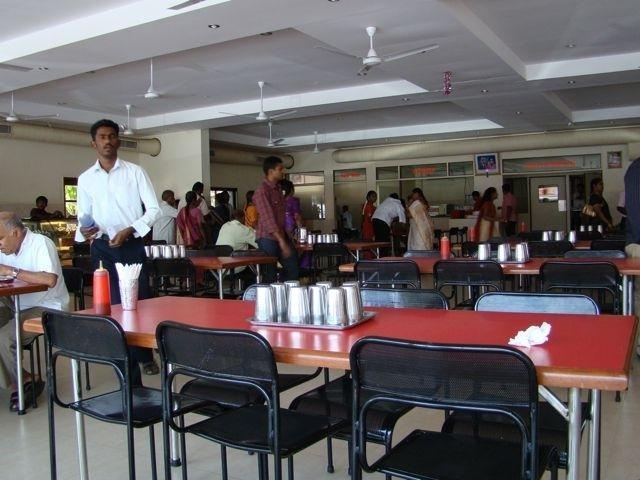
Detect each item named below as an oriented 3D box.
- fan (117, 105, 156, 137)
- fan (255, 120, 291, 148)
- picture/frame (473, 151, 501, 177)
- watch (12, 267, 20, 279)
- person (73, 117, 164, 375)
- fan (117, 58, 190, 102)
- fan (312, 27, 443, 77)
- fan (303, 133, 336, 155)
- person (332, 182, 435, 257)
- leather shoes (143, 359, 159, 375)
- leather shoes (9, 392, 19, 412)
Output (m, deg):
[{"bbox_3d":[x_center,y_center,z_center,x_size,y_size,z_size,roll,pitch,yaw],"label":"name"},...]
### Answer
[{"bbox_3d":[-3.697,-2.349,10.227,0.563,0.599,0.566,1,12,3],"label":"fan"},{"bbox_3d":[-1.016,-2.455,12.319,0.767,0.754,0.754,0,13,12],"label":"fan"},{"bbox_3d":[4.289,-1.965,13.261,0.566,0.524,0.198,3,10,30],"label":"picture/frame"},{"bbox_3d":[-2.061,0.220,3.514,0.038,0.055,0.056,18,35,-2],"label":"watch"},{"bbox_3d":[-1.468,0.005,3.765,0.561,1.685,0.524,0,25,-15],"label":"person"},{"bbox_3d":[-2.500,-2.282,8.000,0.702,0.683,0.706,-4,-3,35],"label":"fan"},{"bbox_3d":[0.620,-2.069,5.908,0.815,0.294,0.813,-1,4,-13],"label":"fan"},{"bbox_3d":[-0.019,-2.565,13.657,0.751,0.696,0.460,0,-4,15],"label":"fan"},{"bbox_3d":[1.024,-0.360,8.707,1.500,1.501,0.907,-2,6,1],"label":"person"},{"bbox_3d":[-1.350,1.011,4.169,0.107,0.099,0.226,1,5,-4],"label":"leather shoes"},{"bbox_3d":[-2.150,1.125,3.637,0.042,0.122,0.091,1,-2,18],"label":"leather shoes"}]
